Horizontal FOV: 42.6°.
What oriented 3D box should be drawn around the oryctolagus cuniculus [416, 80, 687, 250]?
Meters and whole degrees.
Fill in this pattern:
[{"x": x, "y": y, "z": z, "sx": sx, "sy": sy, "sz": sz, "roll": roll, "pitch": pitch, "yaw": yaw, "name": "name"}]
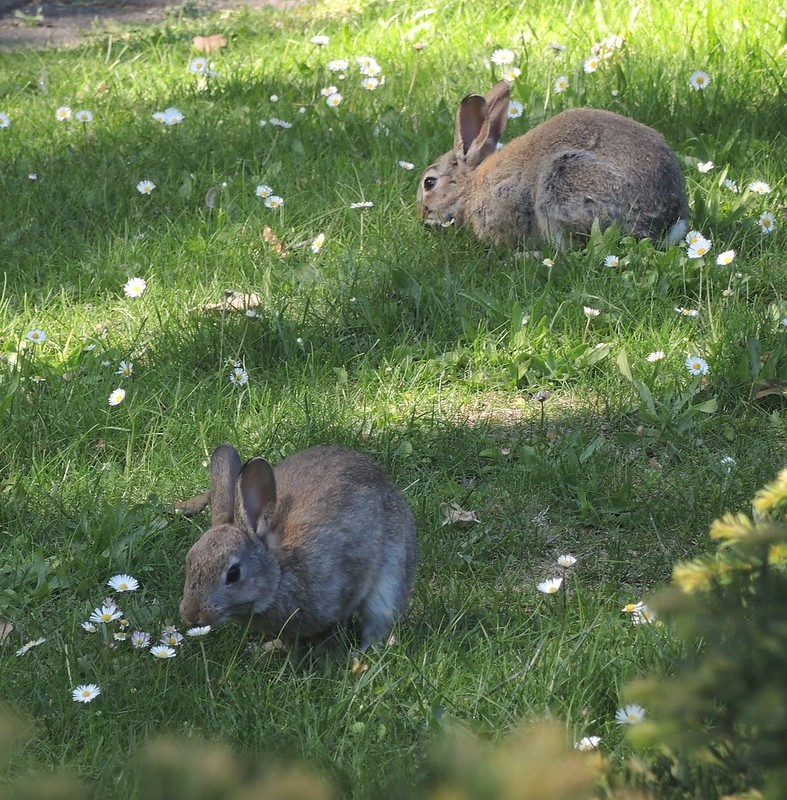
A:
[{"x": 0.947, "y": -1.205, "z": 5.487, "sx": 1.450, "sy": 1.117, "sz": 0.783, "roll": 7, "pitch": 11, "yaw": 42, "name": "oryctolagus cuniculus"}]
